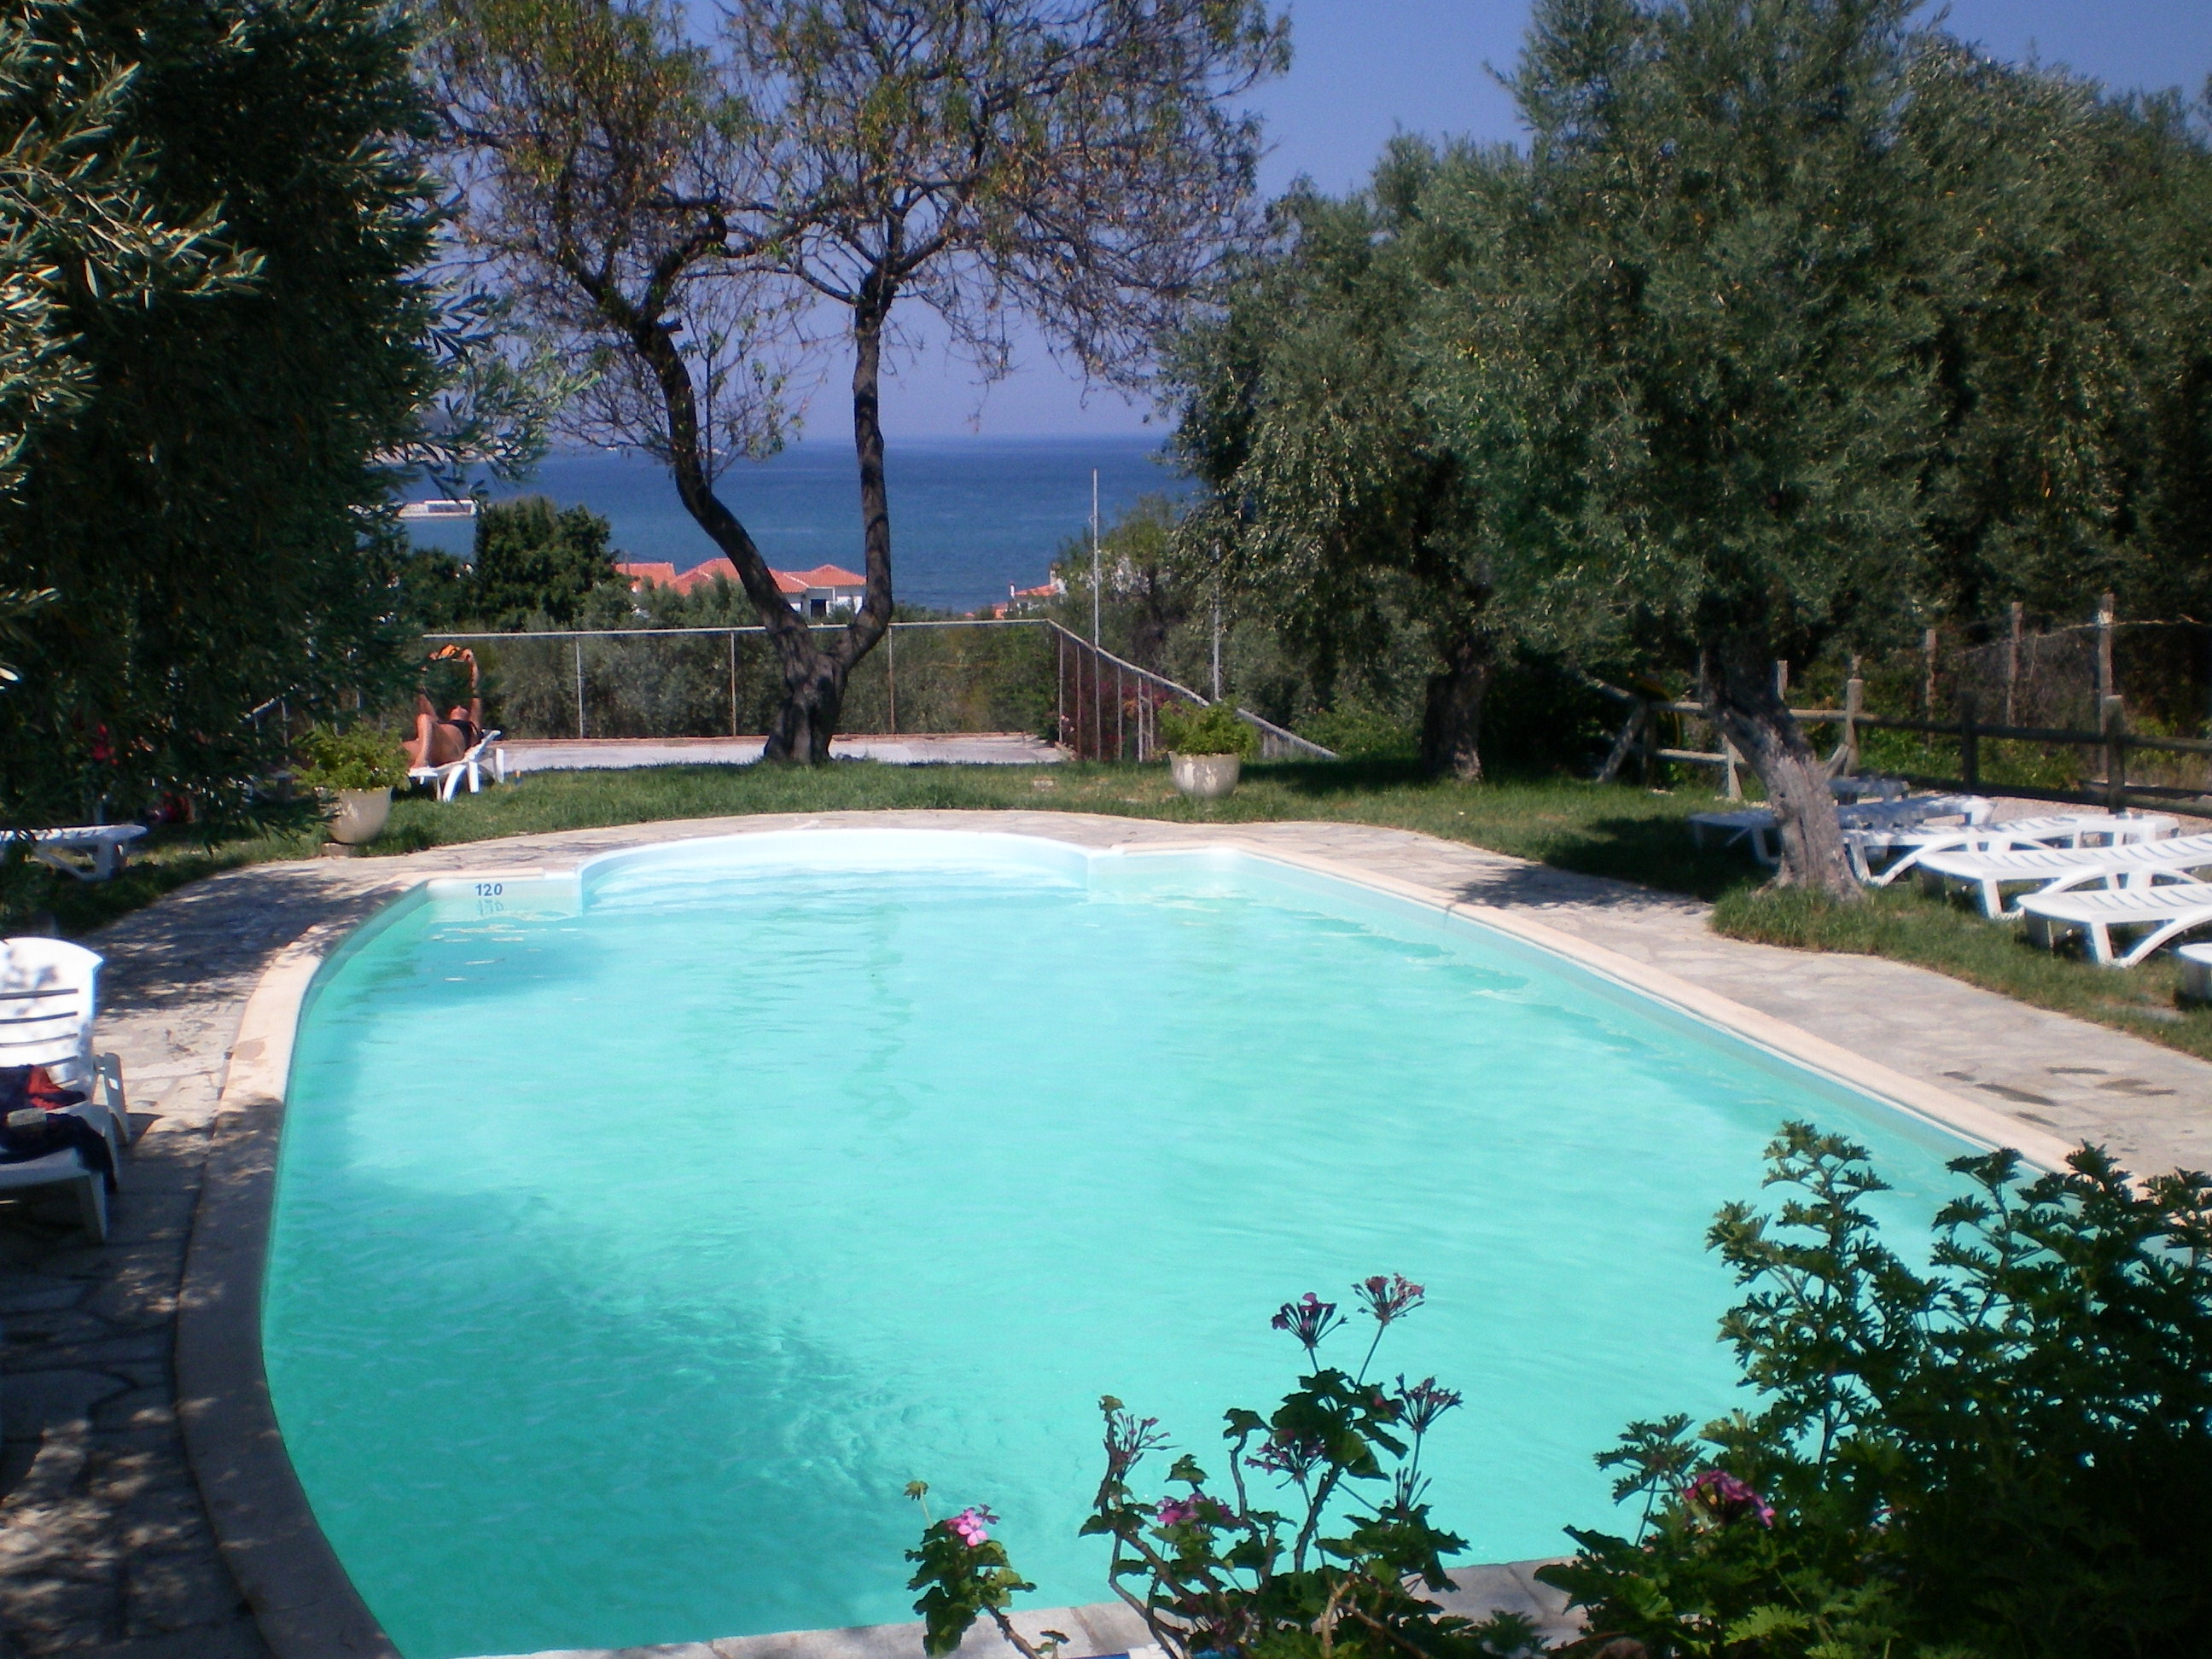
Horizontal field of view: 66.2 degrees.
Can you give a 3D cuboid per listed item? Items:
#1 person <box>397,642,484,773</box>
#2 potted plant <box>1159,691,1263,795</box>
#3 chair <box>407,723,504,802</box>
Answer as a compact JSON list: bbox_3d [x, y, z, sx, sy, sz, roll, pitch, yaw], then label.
[{"bbox_3d":[-9.469,-1.634,23.620,0.861,2.046,1.357,-7,-6,15],"label":"person"},{"bbox_3d":[1.360,-1.133,22.782,1.178,1.370,1.072,1,1,3],"label":"potted plant"},{"bbox_3d":[-8.872,-0.873,23.390,0.815,0.888,1.284,1,2,32],"label":"chair"}]
